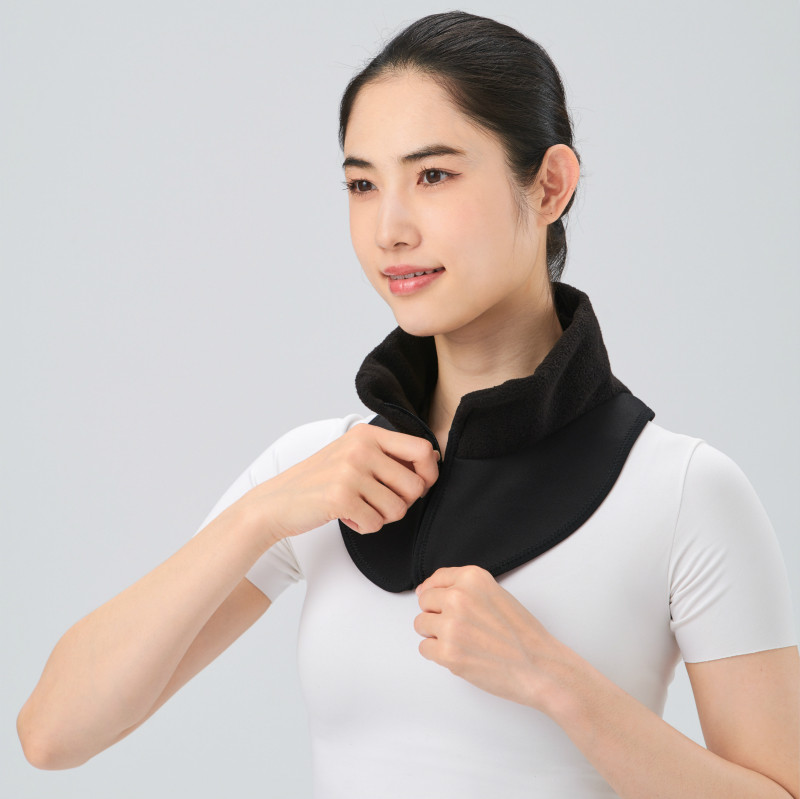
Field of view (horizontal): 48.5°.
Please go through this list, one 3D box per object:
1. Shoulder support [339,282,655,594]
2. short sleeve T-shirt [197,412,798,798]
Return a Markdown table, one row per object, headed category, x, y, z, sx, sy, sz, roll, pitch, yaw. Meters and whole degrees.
| category | x | y | z | sx | sy | sz | roll | pitch | yaw |
| --- | --- | --- | --- | --- | --- | --- | --- | --- | --- |
| Shoulder support | 0.111 | 0.057 | 1.049 | 0.441 | 0.274 | 0.262 | -21 | -10 | 23 |
| short sleeve T-shirt | 0.127 | 0.233 | 1.006 | 0.654 | 0.415 | 0.195 | 0 | -10 | 12 |
